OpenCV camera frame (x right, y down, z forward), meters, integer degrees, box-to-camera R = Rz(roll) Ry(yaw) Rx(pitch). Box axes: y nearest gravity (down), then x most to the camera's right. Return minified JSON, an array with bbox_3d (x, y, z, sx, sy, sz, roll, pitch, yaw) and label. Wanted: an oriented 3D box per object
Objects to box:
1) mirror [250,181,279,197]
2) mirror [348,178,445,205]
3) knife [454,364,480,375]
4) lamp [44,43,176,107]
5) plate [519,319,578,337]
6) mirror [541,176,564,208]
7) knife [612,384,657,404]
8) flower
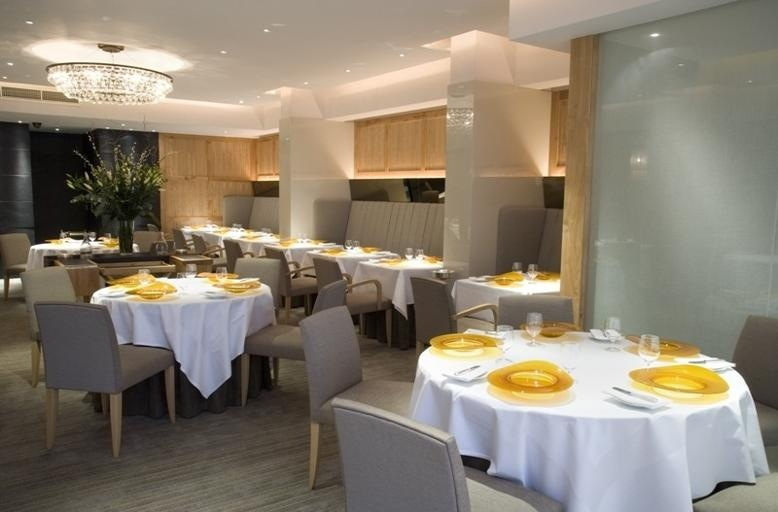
[{"bbox_3d":[-2.921,-1.605,12.258,0.649,0.245,0.193,6,9,44],"label":"mirror"},{"bbox_3d":[0.133,-1.096,8.478,0.290,0.483,2.283,-6,6,-37],"label":"mirror"},{"bbox_3d":[0.453,0.634,2.974,0.050,0.016,0.189,4,4,40],"label":"knife"},{"bbox_3d":[-3.906,-2.370,7.227,0.968,0.480,1.036,0,4,-22],"label":"lamp"},{"bbox_3d":[1.167,0.503,3.579,0.201,0.035,0.201,-3,6,-12],"label":"plate"},{"bbox_3d":[2.054,-0.795,6.429,0.084,0.352,0.369,-11,0,-35],"label":"mirror"},{"bbox_3d":[1.294,0.724,2.729,0.062,0.028,0.233,-11,10,-37],"label":"knife"},{"bbox_3d":[-3.173,-0.754,6.294,1.026,1.189,0.943,3,5,19],"label":"flower"}]
